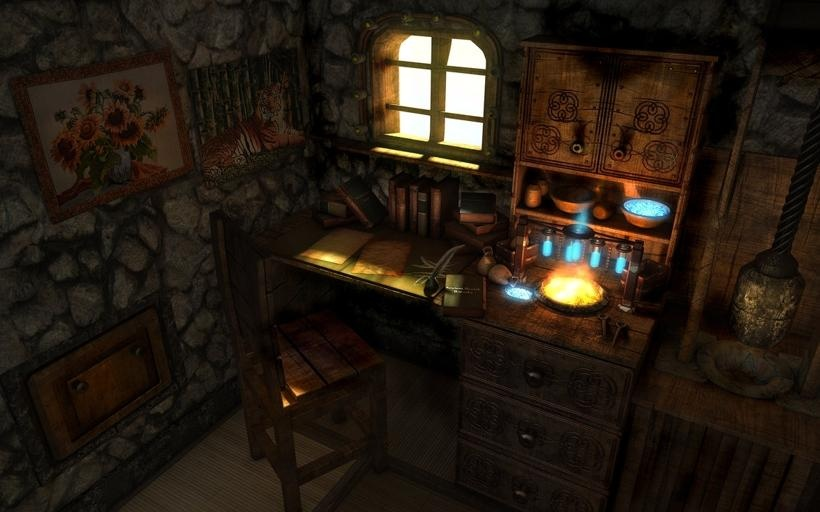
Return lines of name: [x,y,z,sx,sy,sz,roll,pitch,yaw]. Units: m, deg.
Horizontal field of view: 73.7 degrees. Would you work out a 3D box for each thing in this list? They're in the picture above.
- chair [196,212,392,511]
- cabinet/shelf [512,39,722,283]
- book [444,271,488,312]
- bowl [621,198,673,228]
chair: [-0.888,0.814,4.011,1.057,2.289,1.116,-25,42,-30]
cabinet/shelf: [1.397,-0.643,3.604,1.411,1.944,0.532,11,28,22]
book: [0.373,0.252,3.657,0.242,0.054,0.240,2,28,8]
bowl: [1.605,-0.304,3.733,0.246,0.086,0.234,-3,26,2]
